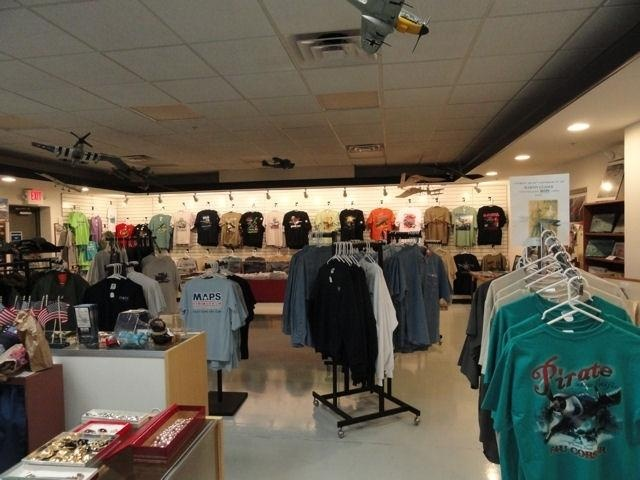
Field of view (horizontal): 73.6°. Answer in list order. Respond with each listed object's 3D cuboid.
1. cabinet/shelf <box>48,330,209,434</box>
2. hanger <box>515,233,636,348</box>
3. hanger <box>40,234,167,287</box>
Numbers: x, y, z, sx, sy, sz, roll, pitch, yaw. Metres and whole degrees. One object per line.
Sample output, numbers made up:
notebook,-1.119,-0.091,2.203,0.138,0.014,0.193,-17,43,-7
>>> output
cabinet/shelf,-1.689,1.136,3.967,1.304,1.069,0.791,-1,-4,2
hanger,1.651,0.249,2.810,0.623,0.584,0.808,1,6,17
hanger,-3.252,0.280,7.010,1.492,0.563,1.054,-3,-1,30
